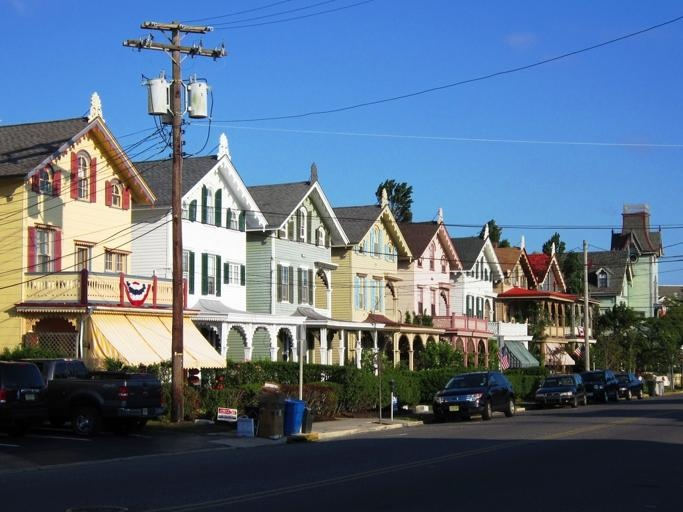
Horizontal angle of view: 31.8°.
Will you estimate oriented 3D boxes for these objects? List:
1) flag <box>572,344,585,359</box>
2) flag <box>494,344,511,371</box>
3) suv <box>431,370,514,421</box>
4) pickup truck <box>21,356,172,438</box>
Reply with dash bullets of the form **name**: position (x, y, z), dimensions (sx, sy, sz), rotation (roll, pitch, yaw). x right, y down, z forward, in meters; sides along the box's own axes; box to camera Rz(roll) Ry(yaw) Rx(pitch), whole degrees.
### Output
- **flag**: position (19.182, 7.832, 97.782), dimensions (0.837, 1.522, 4.005), rotation (-3, -11, 13)
- **flag**: position (10.509, 6.821, 79.173), dimensions (0.175, 1.943, 1.984), rotation (-4, -7, 31)
- **suv**: position (5.633, 6.051, 51.282), dimensions (2.369, 2.176, 5.530), rotation (-7, -6, 25)
- **pickup truck**: position (-9.370, 4.952, 41.710), dimensions (6.101, 2.466, 3.205), rotation (-1, -5, 24)
